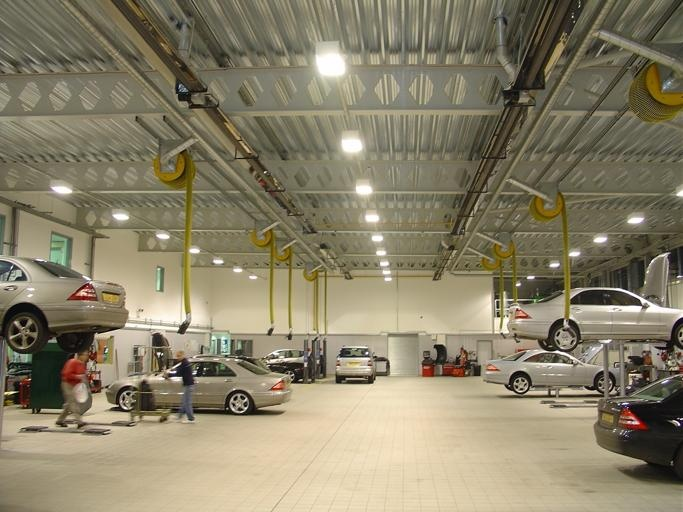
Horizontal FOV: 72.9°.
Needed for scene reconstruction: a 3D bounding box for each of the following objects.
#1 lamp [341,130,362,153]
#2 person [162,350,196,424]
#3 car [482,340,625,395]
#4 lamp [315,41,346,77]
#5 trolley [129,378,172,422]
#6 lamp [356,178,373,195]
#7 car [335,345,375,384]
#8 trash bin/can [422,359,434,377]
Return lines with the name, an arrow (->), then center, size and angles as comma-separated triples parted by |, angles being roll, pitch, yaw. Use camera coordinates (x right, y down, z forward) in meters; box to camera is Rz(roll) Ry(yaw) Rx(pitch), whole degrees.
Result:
lamp -> 0.217, -2.374, 9.557 | 0.335, 0.299, 0.582 | -1, -11, 7
person -> -4.288, 3.557, 12.749 | 0.570, 1.834, 1.497 | 4, -12, -18
car -> 8.197, 4.430, 18.183 | 5.272, 1.465, 2.117 | -1, -9, 4
lamp -> -0.160, -3.018, 6.861 | 0.383, 0.524, 0.514 | 0, -12, 2
trolley -> -5.425, 4.045, 12.931 | 1.360, 1.372, 1.009 | 0, -9, -2
lamp -> 0.598, -1.938, 12.723 | 0.414, 0.470, 0.594 | 0, -11, 1
car -> 0.748, 6.094, 25.842 | 2.027, 2.030, 1.786 | 1, -12, -2
trash bin/can -> 6.297, 8.062, 33.396 | 1.165, 1.248, 1.074 | 0, -10, 3
